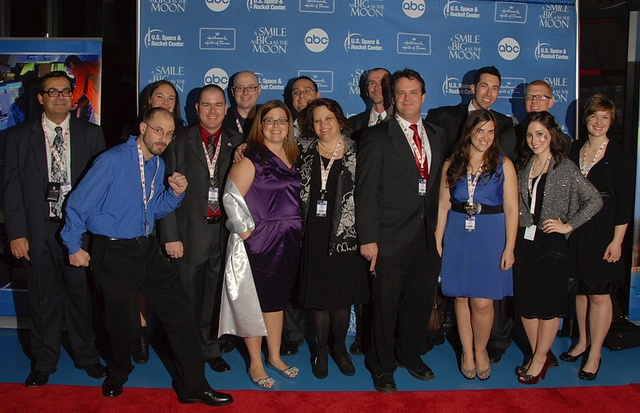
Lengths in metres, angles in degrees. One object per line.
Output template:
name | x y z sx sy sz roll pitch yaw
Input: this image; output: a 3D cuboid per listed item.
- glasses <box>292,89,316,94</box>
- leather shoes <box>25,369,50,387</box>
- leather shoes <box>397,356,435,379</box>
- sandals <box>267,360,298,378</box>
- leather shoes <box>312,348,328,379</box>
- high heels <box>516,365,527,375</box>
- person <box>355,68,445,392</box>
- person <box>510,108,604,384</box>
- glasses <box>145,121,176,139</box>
glasses | -0.173 -1.280 5.448 0.252 0.058 0.064 1 9 1
leather shoes | -2.768 1.692 4.812 0.207 0.112 0.168 -3 10 -22
leather shoes | 0.981 1.673 5.087 0.164 0.168 0.393 -14 17 -42
sandals | -0.393 1.682 4.990 0.276 0.068 0.148 14 3 32
leather shoes | 0.010 1.626 4.941 0.107 0.130 0.321 0 1 -1
high heels | 2.048 1.683 5.003 0.056 0.034 0.094 -12 21 13
person | 0.790 0.234 4.805 0.915 3.117 0.533 0 8 -6
person | 2.270 0.424 4.865 0.711 2.700 0.450 4 9 22
glasses | -1.436 -0.681 4.398 0.234 0.137 0.081 -4 10 -27
